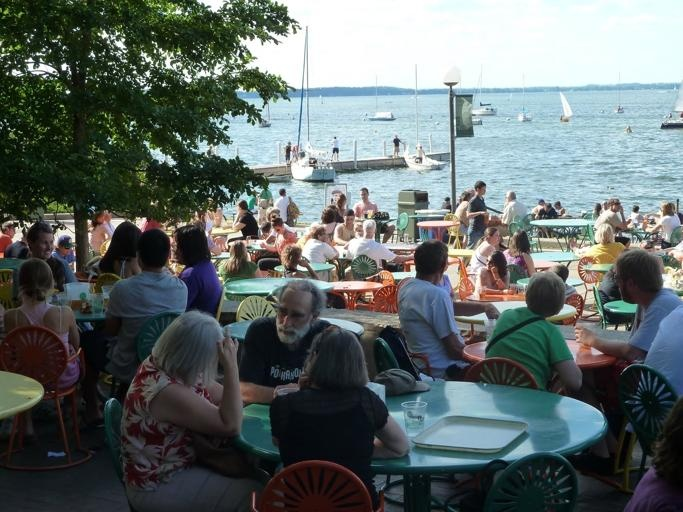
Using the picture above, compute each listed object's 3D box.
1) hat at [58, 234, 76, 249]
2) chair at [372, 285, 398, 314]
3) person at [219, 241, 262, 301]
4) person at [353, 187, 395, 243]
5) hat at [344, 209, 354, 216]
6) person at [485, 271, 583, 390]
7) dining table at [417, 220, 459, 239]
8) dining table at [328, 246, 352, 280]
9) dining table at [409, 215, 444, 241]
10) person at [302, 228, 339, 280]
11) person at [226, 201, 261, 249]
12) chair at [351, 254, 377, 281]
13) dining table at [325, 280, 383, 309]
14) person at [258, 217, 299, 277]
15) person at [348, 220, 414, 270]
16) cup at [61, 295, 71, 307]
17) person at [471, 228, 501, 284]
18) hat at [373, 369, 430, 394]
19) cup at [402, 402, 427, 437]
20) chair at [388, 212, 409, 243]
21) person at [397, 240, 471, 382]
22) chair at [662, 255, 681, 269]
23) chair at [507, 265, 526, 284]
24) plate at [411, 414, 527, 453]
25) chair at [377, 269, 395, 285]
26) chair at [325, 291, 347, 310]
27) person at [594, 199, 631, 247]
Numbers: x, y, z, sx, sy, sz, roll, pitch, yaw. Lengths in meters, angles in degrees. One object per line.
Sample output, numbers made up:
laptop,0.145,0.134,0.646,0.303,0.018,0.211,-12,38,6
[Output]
hat,-3.831,-0.197,11.489,0.330,0.206,0.233,9,9,38
chair,0.551,0.533,10.715,0.302,0.410,0.256,0,13,0
person,-1.341,0.069,11.367,0.508,0.783,0.709,2,24,3
person,0.707,-0.908,20.048,0.870,1.619,0.921,-3,-6,-6
hat,0.126,-0.815,15.562,0.149,0.166,0.118,-9,7,-6
person,1.509,0.623,6.574,0.707,1.122,0.594,13,25,20
dining table,2.046,-0.656,18.003,0.729,0.552,0.739,3,7,43
dining table,-0.008,0.117,13.298,0.425,0.348,0.438,0,2,4
dining table,2.042,-0.653,18.923,0.874,0.583,0.886,-1,1,-35
person,-0.273,0.044,12.552,0.460,0.973,0.460,0,11,19
person,-2.034,-0.600,16.946,0.698,1.106,0.456,-9,20,1
chair,0.334,0.162,12.495,0.415,0.356,0.226,1,13,4
dining table,0.156,0.428,11.059,0.436,0.353,0.459,0,1,16
person,-1.059,-0.115,13.637,0.563,1.015,0.340,-2,18,-28
person,0.550,-0.118,13.182,1.193,0.933,0.704,0,7,1
cup,-2.583,0.425,7.819,0.074,0.091,0.076,1,3,0
person,2.078,0.032,11.891,0.298,0.991,0.299,10,36,23
hat,0.427,0.891,5.972,0.275,0.100,0.188,-2,9,-28
cup,0.478,1.049,5.411,0.169,0.196,0.174,-2,1,0
chair,1.457,-0.729,20.006,0.584,0.860,0.451,-5,8,-38
person,0.922,0.604,7.542,0.774,1.504,0.640,-6,7,-38
chair,4.816,0.086,12.230,0.108,0.148,0.107,-31,34,-27
chair,2.375,0.204,11.359,0.223,0.308,0.270,6,14,20
plate,0.814,1.119,5.287,0.704,0.071,0.418,3,15,11
chair,0.600,0.293,11.493,0.224,0.186,0.421,-1,14,-3
chair,-0.085,0.572,11.259,0.324,0.382,0.218,-2,6,-1
person,5.625,-0.585,17.260,0.638,1.152,0.476,-5,12,-11
